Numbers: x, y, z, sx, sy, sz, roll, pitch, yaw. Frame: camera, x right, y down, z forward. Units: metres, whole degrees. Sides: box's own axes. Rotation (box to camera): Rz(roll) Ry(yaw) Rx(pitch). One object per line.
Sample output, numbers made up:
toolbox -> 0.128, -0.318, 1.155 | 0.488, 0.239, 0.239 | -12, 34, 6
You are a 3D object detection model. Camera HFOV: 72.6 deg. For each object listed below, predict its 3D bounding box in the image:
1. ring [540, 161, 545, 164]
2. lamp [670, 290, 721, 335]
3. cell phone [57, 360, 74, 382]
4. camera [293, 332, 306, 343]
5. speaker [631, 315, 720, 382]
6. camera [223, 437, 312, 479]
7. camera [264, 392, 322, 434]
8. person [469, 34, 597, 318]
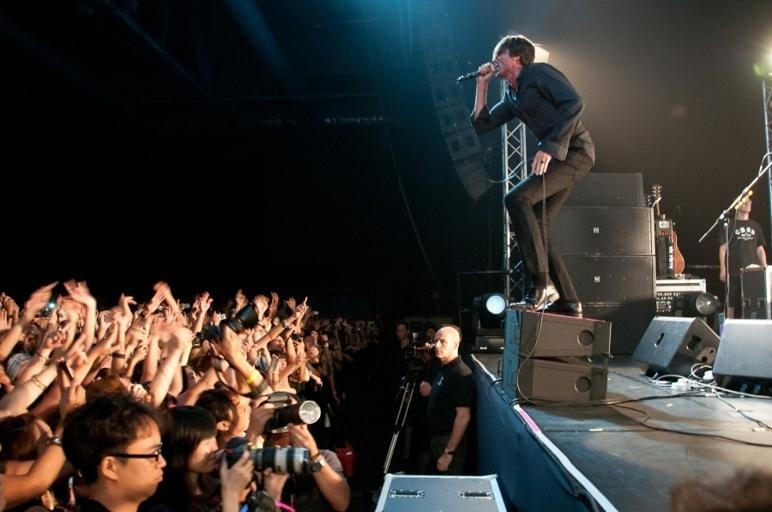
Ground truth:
ring -> 1.232, -0.738, 4.108 | 0.045, 0.022, 0.015 | 4, -7, -3
lamp -> 3.929, 0.594, 6.816 | 0.391, 0.279, 0.619 | -2, 2, -7
cell phone -> -1.918, 0.682, 3.144 | 0.087, 0.126, 0.037 | -9, 10, 45
camera -> -1.147, 1.072, 6.909 | 0.215, 0.119, 0.310 | 0, -1, -1
speaker -> 2.593, 0.830, 4.842 | 0.617, 0.595, 0.682 | 2, -12, -6
camera -> -0.619, 1.053, 2.815 | 0.354, 0.162, 0.210 | -2, -2, 2
camera -> -0.509, 0.919, 3.049 | 0.326, 0.195, 0.145 | -15, -58, 34
person -> 1.237, -0.818, 4.435 | 0.949, 2.608, 0.636 | 1, -8, 21
